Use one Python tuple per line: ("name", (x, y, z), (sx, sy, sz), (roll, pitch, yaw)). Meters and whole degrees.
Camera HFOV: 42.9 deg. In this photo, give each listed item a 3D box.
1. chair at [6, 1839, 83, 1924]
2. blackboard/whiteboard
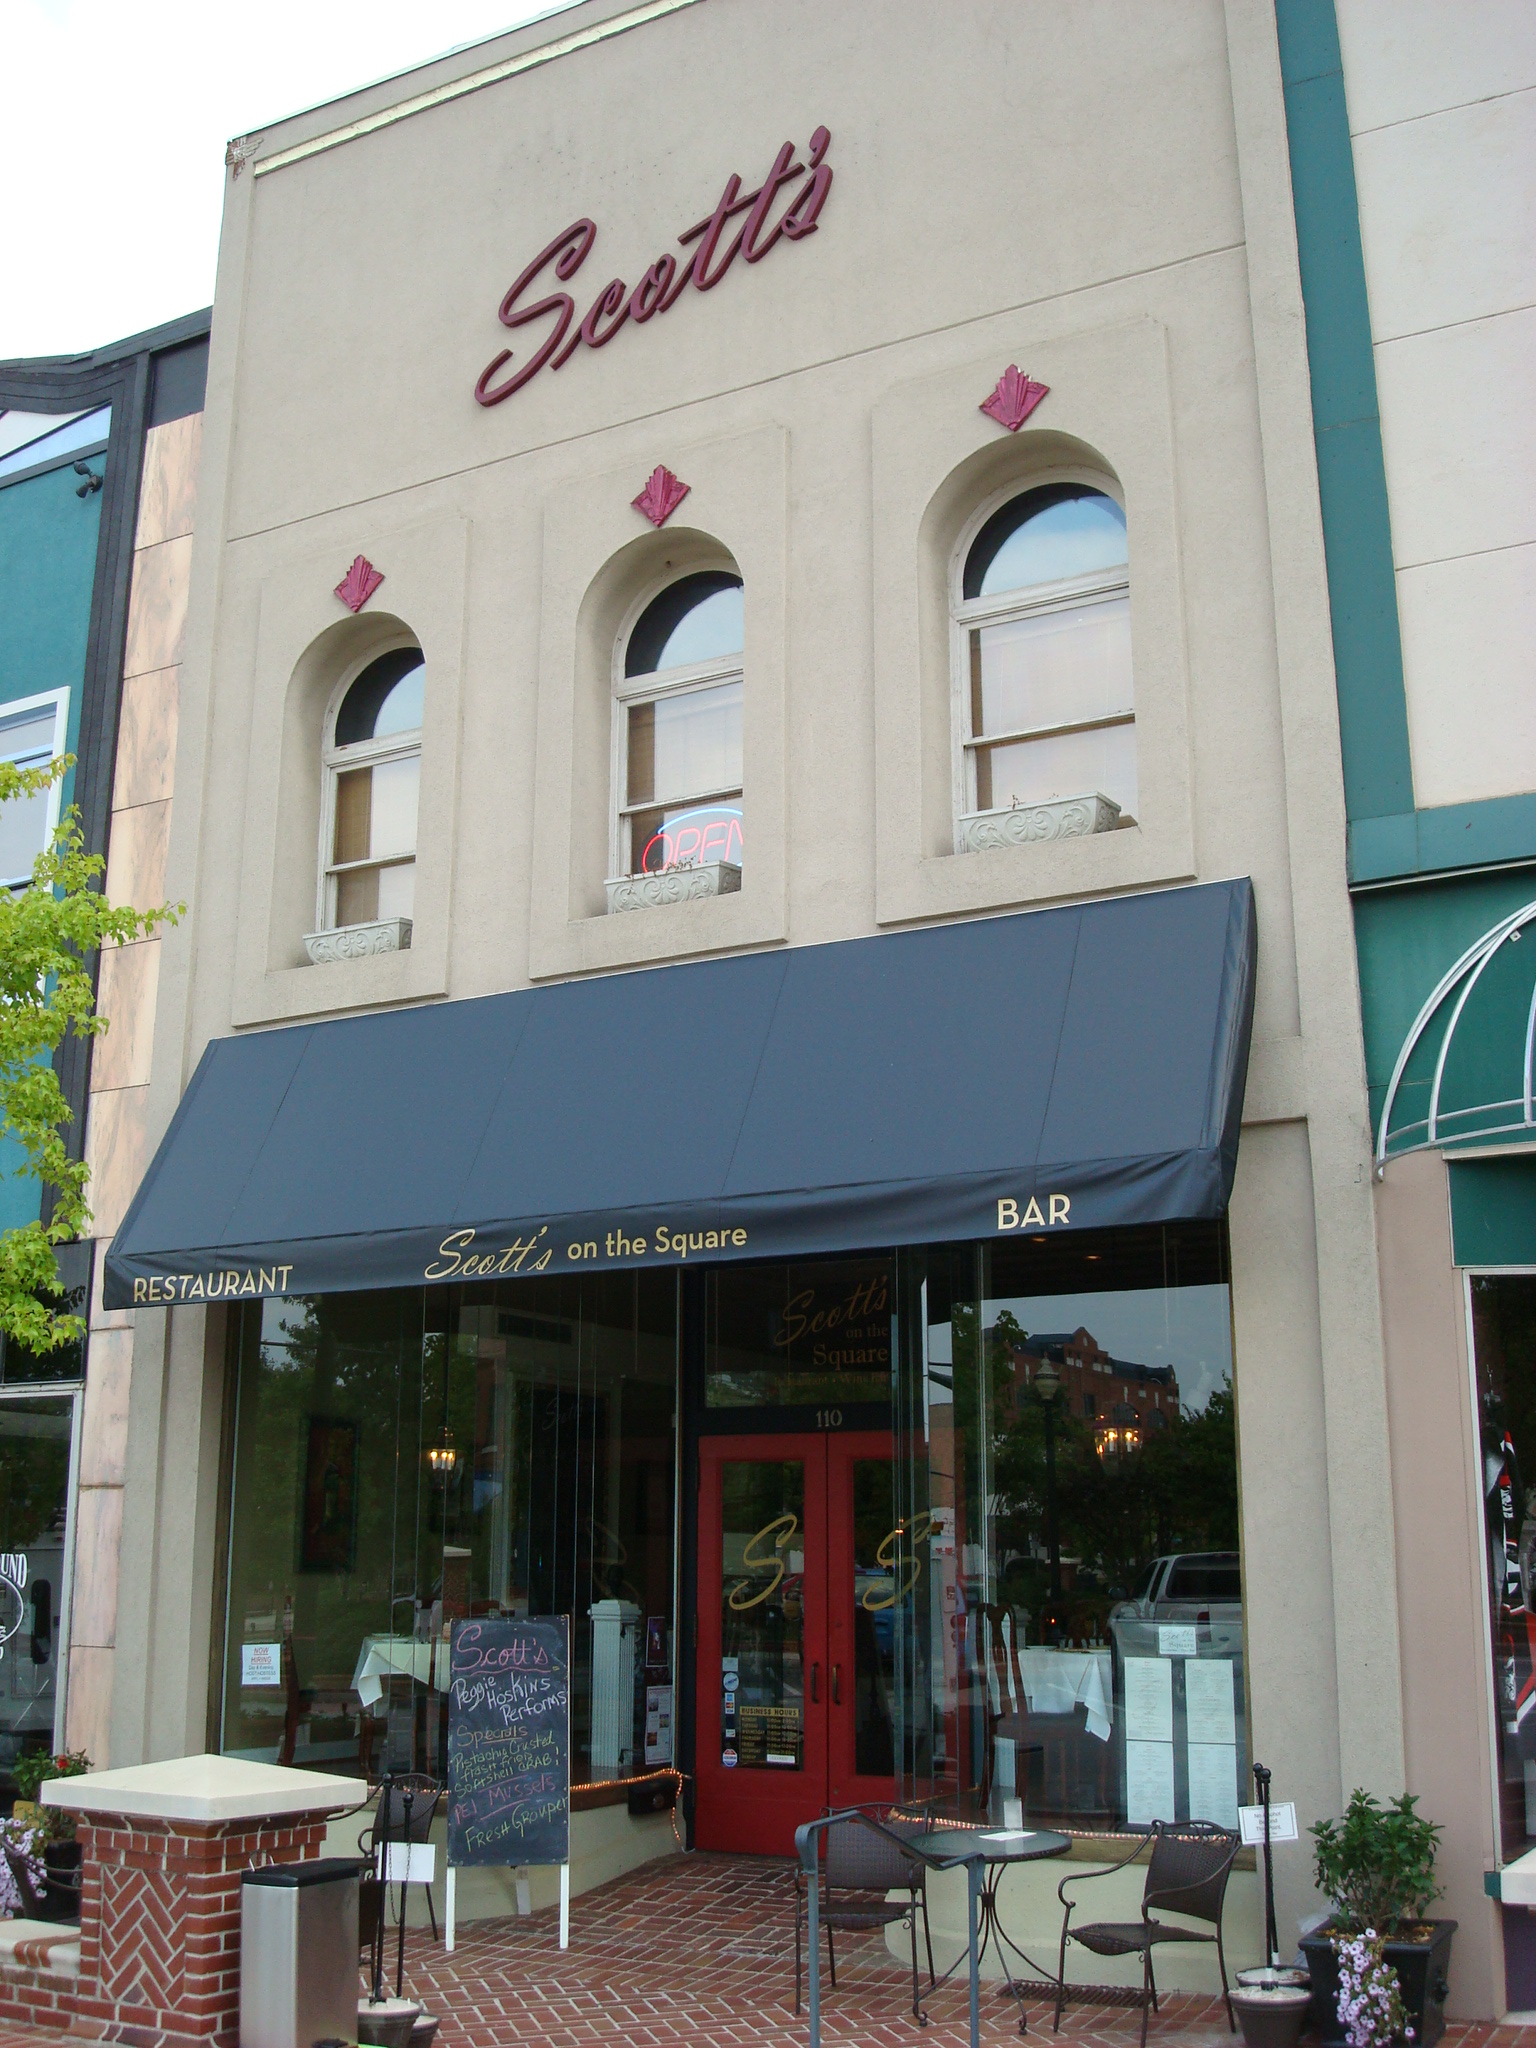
("chair", (-3.683, 4.351, 9.934), (0.355, 0.410, 0.637), (3, -16, -20))
("blackboard/whiteboard", (-1.287, 3.564, 9.713), (0.596, 1.149, 0.411), (0, -16, -11))
